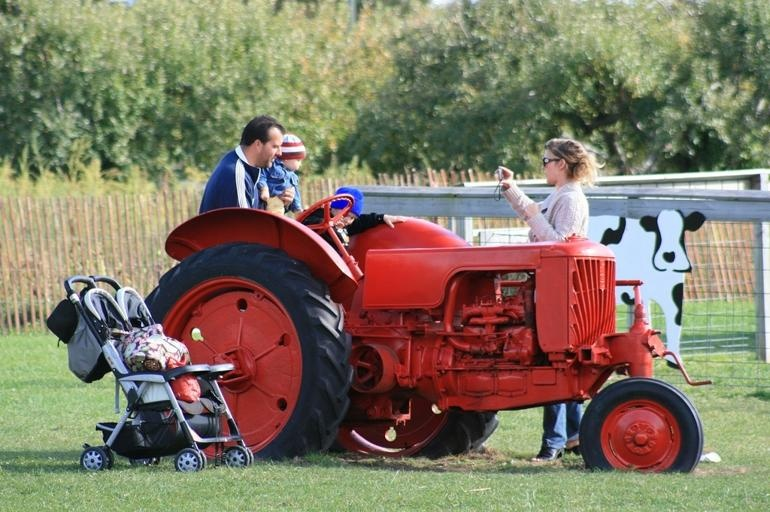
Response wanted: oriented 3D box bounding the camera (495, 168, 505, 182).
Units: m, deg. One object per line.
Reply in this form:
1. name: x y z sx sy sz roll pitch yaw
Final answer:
1. camera: 1.950 -1.444 32.359 0.102 0.223 0.258 -3 1 -1

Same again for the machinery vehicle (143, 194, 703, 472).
1. machinery vehicle: 0.698 1.193 33.043 7.440 4.108 5.113 -1 0 18

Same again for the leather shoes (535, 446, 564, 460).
1. leather shoes: 2.791 3.382 32.392 0.452 0.194 0.220 0 -4 -22

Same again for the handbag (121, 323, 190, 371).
1. handbag: -4.100 1.522 32.013 1.299 0.816 0.971 -1 18 21
